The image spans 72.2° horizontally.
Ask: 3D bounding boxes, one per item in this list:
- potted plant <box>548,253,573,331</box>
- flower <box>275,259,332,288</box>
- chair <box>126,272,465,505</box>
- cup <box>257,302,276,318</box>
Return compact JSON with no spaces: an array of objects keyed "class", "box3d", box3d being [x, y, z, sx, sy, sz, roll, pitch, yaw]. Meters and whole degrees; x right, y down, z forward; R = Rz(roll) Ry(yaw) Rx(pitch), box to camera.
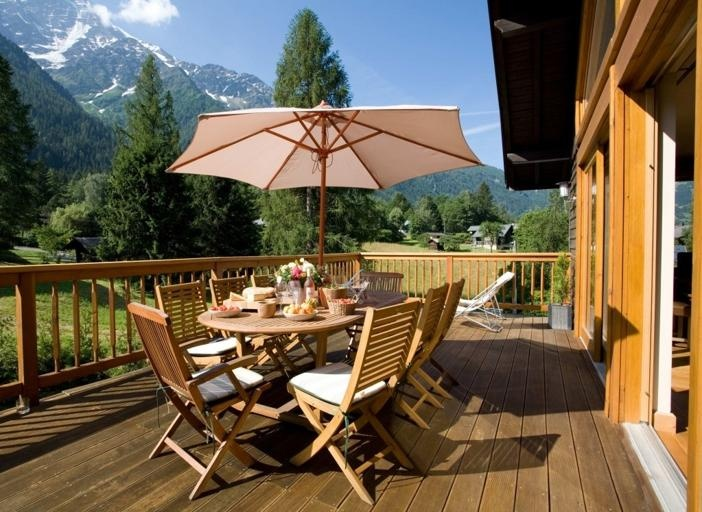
[{"class":"potted plant","box3d":[3.108,0.538,7.097,0.344,1.050,0.519,6,13,24]},{"class":"flower","box3d":[-0.475,0.177,4.333,0.306,0.233,0.324,0,1,37]},{"class":"chair","box3d":[-0.478,0.856,3.969,2.097,1.067,1.358,-3,-3,38]},{"class":"cup","box3d":[-0.682,0.455,3.909,0.115,0.099,0.123,-1,1,0]}]
